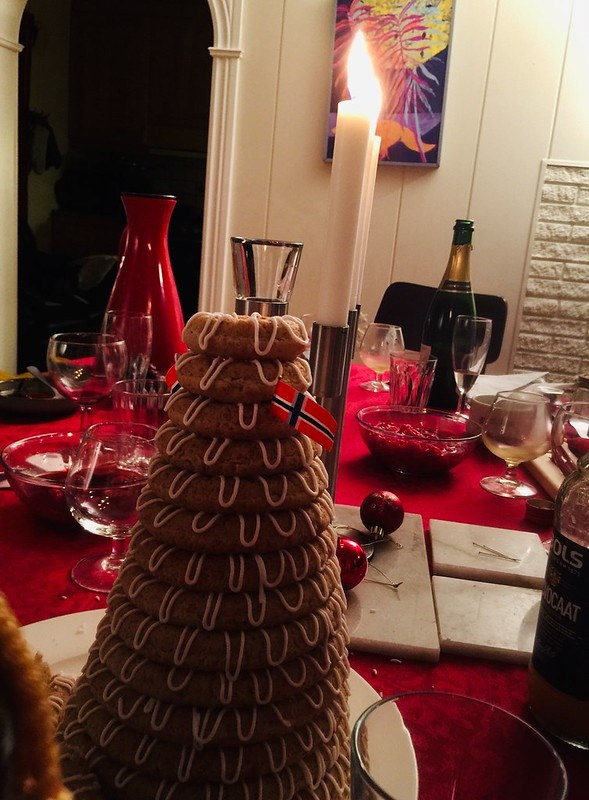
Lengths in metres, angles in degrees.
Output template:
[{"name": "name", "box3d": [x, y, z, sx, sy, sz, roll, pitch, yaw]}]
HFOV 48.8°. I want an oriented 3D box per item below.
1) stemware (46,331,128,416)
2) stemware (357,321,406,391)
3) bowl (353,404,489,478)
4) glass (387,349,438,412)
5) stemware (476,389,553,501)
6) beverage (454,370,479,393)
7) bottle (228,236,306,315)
[{"name": "stemware", "box3d": [-0.271, -0.015, 0.858, 0.099, 0.137, 0.094, -9, 19, -37]}, {"name": "stemware", "box3d": [0.203, -0.099, 1.520, 0.109, 0.144, 0.098, -1, 14, -23]}, {"name": "bowl", "box3d": [0.188, 0.058, 0.927, 0.135, 0.047, 0.129, 5, 5, 0]}, {"name": "glass", "box3d": [0.203, -0.035, 1.137, 0.103, 0.106, 0.100, 4, 4, -5]}, {"name": "stemware", "box3d": [0.310, 0.065, 0.900, 0.112, 0.114, 0.109, 15, 6, 19]}, {"name": "beverage", "box3d": [0.322, -0.034, 1.230, 0.042, 0.039, 0.038, 3, 6, 6]}, {"name": "bottle", "box3d": [-0.029, -0.101, 0.611, 0.068, 0.084, 0.066, 5, 7, -1]}]
